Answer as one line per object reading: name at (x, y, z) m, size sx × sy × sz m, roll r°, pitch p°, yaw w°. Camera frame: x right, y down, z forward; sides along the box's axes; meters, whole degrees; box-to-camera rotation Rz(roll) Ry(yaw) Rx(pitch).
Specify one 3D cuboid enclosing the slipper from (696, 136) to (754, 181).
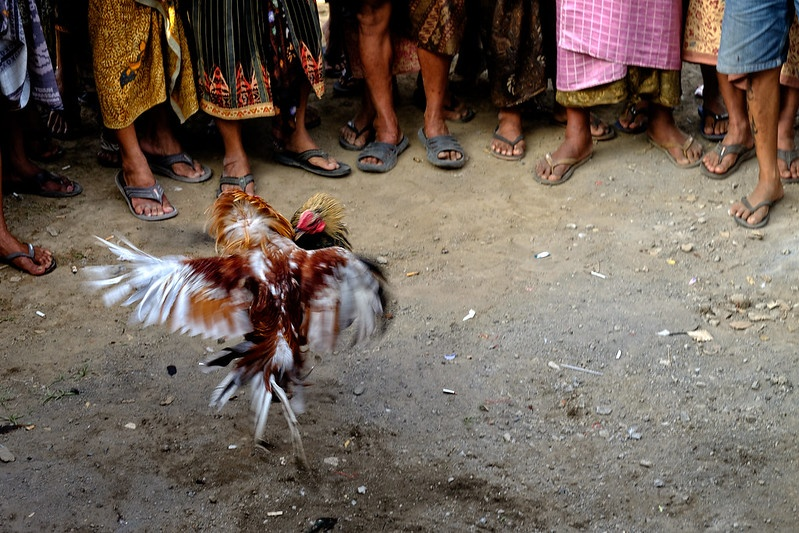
slipper at (2.160, -0.659, 5.178) m, size 0.420 × 0.112 × 0.163 m, roll -37°, pitch 72°, yaw 9°

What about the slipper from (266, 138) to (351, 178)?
slipper at (-0.649, -0.718, 5.547) m, size 0.624 × 0.175 × 0.224 m, roll 19°, pitch 59°, yaw 14°

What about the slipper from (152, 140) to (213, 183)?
slipper at (-1.544, -0.695, 5.394) m, size 0.476 × 0.117 × 0.179 m, roll 18°, pitch 48°, yaw 11°

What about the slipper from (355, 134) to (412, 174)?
slipper at (-0.107, -0.801, 5.575) m, size 0.219 × 0.149 × 0.435 m, roll 15°, pitch 41°, yaw 26°

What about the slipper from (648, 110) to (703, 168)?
slipper at (1.891, -0.843, 5.357) m, size 0.199 × 0.263 × 0.385 m, roll -47°, pitch 56°, yaw -7°

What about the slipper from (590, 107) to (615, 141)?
slipper at (1.475, -0.971, 5.620) m, size 0.185 × 0.100 × 0.202 m, roll 2°, pitch 38°, yaw 12°

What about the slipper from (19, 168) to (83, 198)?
slipper at (-2.321, -0.538, 5.172) m, size 0.440 × 0.114 × 0.150 m, roll 2°, pitch 60°, yaw -6°

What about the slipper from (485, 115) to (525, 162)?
slipper at (0.774, -0.920, 5.577) m, size 0.263 × 0.245 × 0.314 m, roll 0°, pitch 38°, yaw 9°

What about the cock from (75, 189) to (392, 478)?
cock at (-0.658, 0.308, 3.601) m, size 1.437 × 0.660 × 1.521 m, roll 11°, pitch 40°, yaw -14°
